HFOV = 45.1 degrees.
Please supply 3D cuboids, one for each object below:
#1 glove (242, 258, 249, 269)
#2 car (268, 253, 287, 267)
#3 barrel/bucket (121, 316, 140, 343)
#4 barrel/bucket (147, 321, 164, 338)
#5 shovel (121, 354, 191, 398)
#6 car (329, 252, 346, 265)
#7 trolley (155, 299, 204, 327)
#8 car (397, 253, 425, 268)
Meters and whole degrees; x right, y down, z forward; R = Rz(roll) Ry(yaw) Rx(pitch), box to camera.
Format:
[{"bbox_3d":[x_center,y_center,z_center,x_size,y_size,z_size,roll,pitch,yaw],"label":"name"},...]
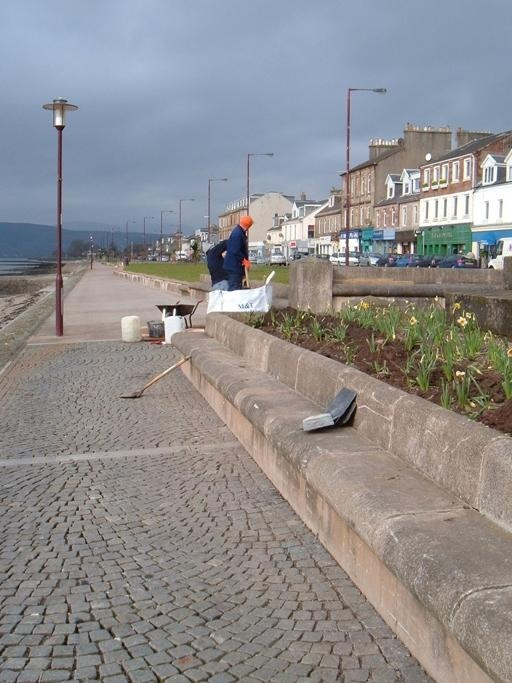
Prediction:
[{"bbox_3d":[-0.164,-1.358,10.804,0.123,0.135,0.118,27,3,-29],"label":"glove"},{"bbox_3d":[2.564,-9.702,73.635,1.326,1.229,2.207,0,12,-12],"label":"car"},{"bbox_3d":[-2.642,-0.246,13.357,0.486,0.596,0.499,2,6,0],"label":"barrel/bucket"},{"bbox_3d":[-2.206,-0.256,13.521,0.307,0.327,0.371,-1,9,-16],"label":"barrel/bucket"},{"bbox_3d":[-1.482,0.540,9.162,0.156,0.083,0.805,29,46,25],"label":"shovel"},{"bbox_3d":[7.892,-8.033,59.495,1.256,1.555,6.931,0,3,6],"label":"car"},{"bbox_3d":[-1.796,-0.467,13.536,0.992,0.706,0.836,4,6,25],"label":"trolley"},{"bbox_3d":[12.712,-6.731,51.180,1.945,1.259,5.015,0,3,6],"label":"car"}]
